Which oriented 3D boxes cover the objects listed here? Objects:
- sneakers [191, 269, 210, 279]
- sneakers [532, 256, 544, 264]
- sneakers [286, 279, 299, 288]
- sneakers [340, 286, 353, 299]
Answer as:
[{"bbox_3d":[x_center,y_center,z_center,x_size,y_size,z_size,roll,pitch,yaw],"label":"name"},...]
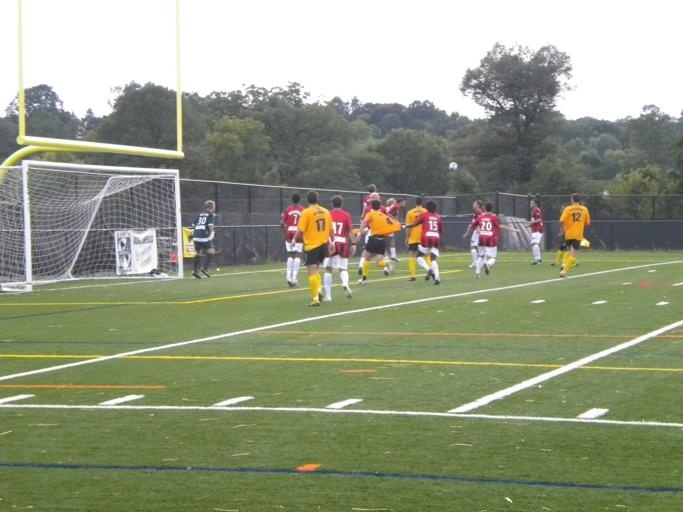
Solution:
[{"bbox_3d":[-3.717,0.478,26.606,0.655,0.257,0.211,1,7,-4],"label":"sneakers"},{"bbox_3d":[5.530,0.147,29.530,0.198,0.222,0.549,-5,-5,23],"label":"sneakers"},{"bbox_3d":[-1.105,0.613,22.635,0.175,0.199,0.454,-2,-4,-8],"label":"sneakers"},{"bbox_3d":[0.084,0.758,19.320,0.112,0.317,0.142,-6,31,13],"label":"sneakers"}]
